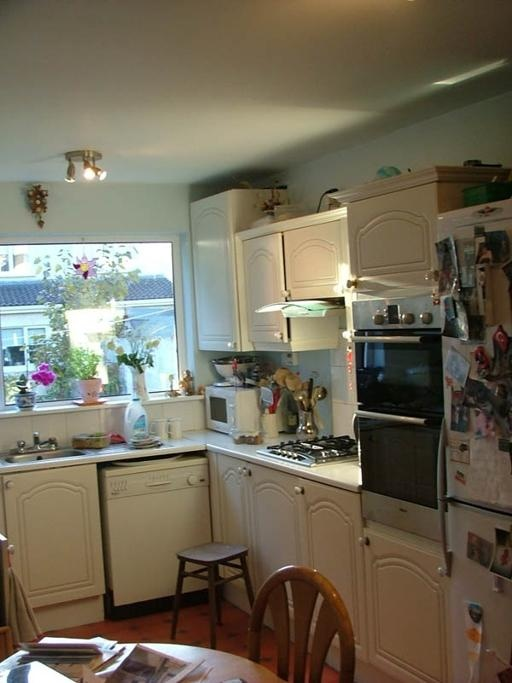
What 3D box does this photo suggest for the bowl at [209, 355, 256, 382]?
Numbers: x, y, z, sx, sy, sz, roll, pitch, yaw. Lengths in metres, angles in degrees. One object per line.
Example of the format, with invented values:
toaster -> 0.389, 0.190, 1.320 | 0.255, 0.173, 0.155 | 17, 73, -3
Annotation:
bowl -> -0.131, 0.195, 3.901 | 0.263, 0.174, 0.339 | -8, 5, -31

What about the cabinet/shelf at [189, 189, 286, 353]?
cabinet/shelf -> -0.083, -0.445, 3.995 | 0.799, 0.956, 0.752 | 0, 9, 6

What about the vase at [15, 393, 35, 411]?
vase -> -1.483, 0.387, 3.563 | 0.122, 0.097, 0.116 | -2, 6, -27

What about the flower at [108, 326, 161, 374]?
flower -> -0.878, 0.063, 3.963 | 0.329, 0.280, 0.348 | 7, 8, 19

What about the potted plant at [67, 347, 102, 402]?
potted plant -> -1.164, 0.231, 3.810 | 0.222, 0.383, 0.236 | -7, 5, -18

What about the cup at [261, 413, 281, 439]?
cup -> 0.142, 0.534, 3.503 | 0.102, 0.154, 0.168 | 1, 0, 36

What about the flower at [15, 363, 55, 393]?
flower -> -1.463, 0.241, 3.700 | 0.273, 0.127, 0.217 | -7, 5, -27

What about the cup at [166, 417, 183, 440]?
cup -> -0.558, 0.599, 3.774 | 0.094, 0.127, 0.118 | -6, 5, -9

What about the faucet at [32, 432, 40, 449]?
faucet -> -1.405, 0.632, 3.538 | 0.044, 0.073, 0.094 | -7, 5, -22

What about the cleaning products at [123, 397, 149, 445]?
cleaning products -> -0.798, 0.518, 3.636 | 0.157, 0.258, 0.368 | -6, 5, -14

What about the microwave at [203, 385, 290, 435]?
microwave -> -0.034, 0.446, 3.741 | 0.384, 0.331, 0.524 | 1, -1, -30

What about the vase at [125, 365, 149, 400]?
vase -> -0.818, 0.296, 3.871 | 0.112, 0.246, 0.390 | -6, 5, -13

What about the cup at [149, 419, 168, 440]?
cup -> -0.661, 0.603, 3.790 | 0.159, 0.143, 0.095 | -2, 5, -21

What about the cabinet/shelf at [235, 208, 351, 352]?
cabinet/shelf -> 0.296, -0.305, 3.237 | 0.345, 0.755, 0.951 | -8, 7, -36
